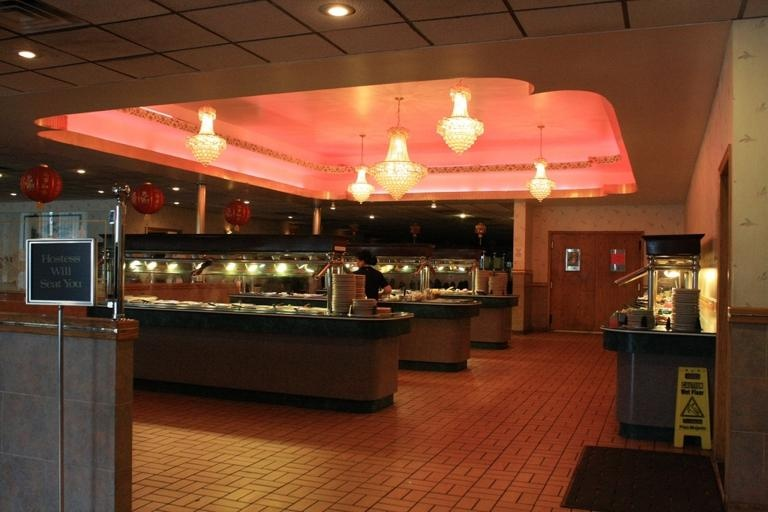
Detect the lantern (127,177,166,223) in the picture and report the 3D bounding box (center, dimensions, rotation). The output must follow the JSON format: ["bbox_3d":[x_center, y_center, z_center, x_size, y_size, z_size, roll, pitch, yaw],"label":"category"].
[{"bbox_3d":[-3.999,-0.966,10.246,0.540,0.520,0.509,1,6,-13],"label":"lantern"}]

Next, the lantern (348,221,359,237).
[{"bbox_3d":[-1.190,-1.076,24.404,0.544,0.711,0.513,2,9,3],"label":"lantern"}]

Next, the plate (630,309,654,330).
[{"bbox_3d":[2.951,0.704,6.832,0.209,0.179,0.506,3,3,40],"label":"plate"}]

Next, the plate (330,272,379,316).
[{"bbox_3d":[-0.401,0.467,7.539,0.525,0.498,0.465,1,2,-13],"label":"plate"}]

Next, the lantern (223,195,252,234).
[{"bbox_3d":[-3.058,-0.845,12.477,0.573,0.591,0.543,-4,-8,15],"label":"lantern"}]

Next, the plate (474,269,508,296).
[{"bbox_3d":[2.261,0.537,12.674,0.624,0.482,0.893,2,2,9],"label":"plate"}]

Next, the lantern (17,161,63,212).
[{"bbox_3d":[-5.032,-1.077,8.895,0.479,0.557,0.659,0,2,-25],"label":"lantern"}]

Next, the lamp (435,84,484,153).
[{"bbox_3d":[1.073,-1.976,8.610,0.716,0.853,0.670,-1,5,-14],"label":"lamp"}]

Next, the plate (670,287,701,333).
[{"bbox_3d":[3.313,0.581,6.593,0.274,0.450,0.328,2,2,25],"label":"plate"}]
